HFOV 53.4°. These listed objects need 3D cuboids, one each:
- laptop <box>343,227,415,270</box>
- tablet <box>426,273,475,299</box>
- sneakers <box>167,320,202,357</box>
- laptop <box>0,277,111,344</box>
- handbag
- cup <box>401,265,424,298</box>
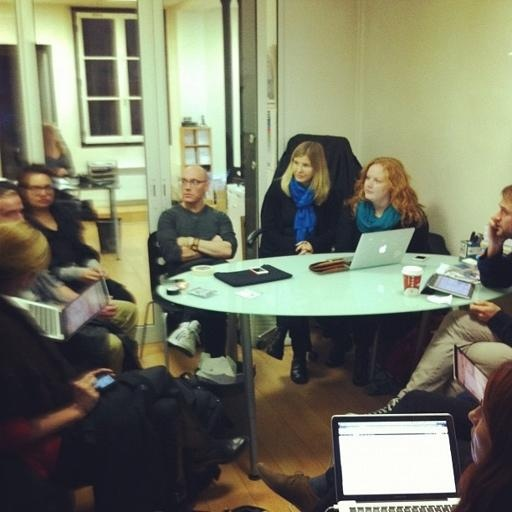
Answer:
[{"bbox_3d":[0.538,-0.030,2.178,0.278,0.155,0.189,-8,29,-17],"label":"laptop"},{"bbox_3d":[0.754,0.123,1.964,0.117,0.009,0.086,21,39,15],"label":"tablet"},{"bbox_3d":[-0.313,0.368,2.327,0.092,0.101,0.224,37,-3,-22],"label":"sneakers"},{"bbox_3d":[-0.587,0.166,1.532,0.143,0.134,0.198,43,-5,-10],"label":"laptop"},{"bbox_3d":[-0.184,0.533,1.811,0.245,0.090,0.189,50,-6,-10],"label":"handbag"},{"bbox_3d":[0.582,0.095,1.883,0.105,0.109,0.099,-1,16,0],"label":"cup"}]
